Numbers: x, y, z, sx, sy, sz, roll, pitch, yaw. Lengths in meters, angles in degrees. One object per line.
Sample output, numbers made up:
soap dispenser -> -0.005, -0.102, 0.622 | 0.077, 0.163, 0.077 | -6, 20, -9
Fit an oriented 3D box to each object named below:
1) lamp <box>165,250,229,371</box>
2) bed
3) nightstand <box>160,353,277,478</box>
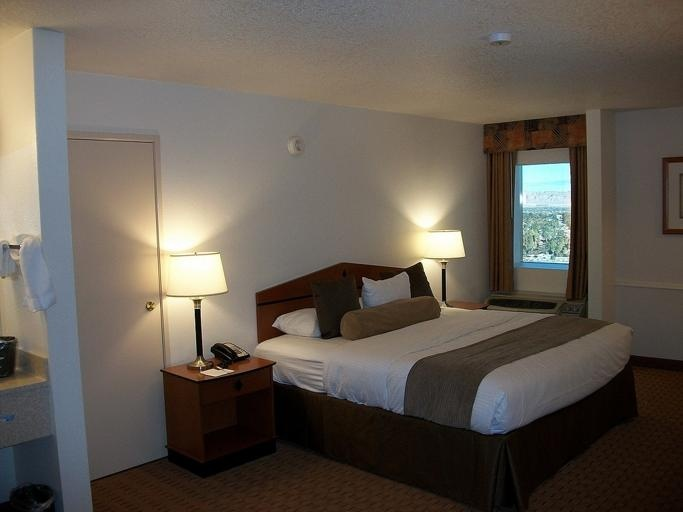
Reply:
lamp -> -1.239, 0.460, 4.569 | 0.512, 0.982, 0.407 | 5, 11, 43
bed -> 0.667, 0.554, 4.475 | 2.114, 1.194, 2.197 | 3, 10, 40
nightstand -> -1.014, 1.293, 4.736 | 0.773, 1.064, 1.087 | 2, 5, 40
